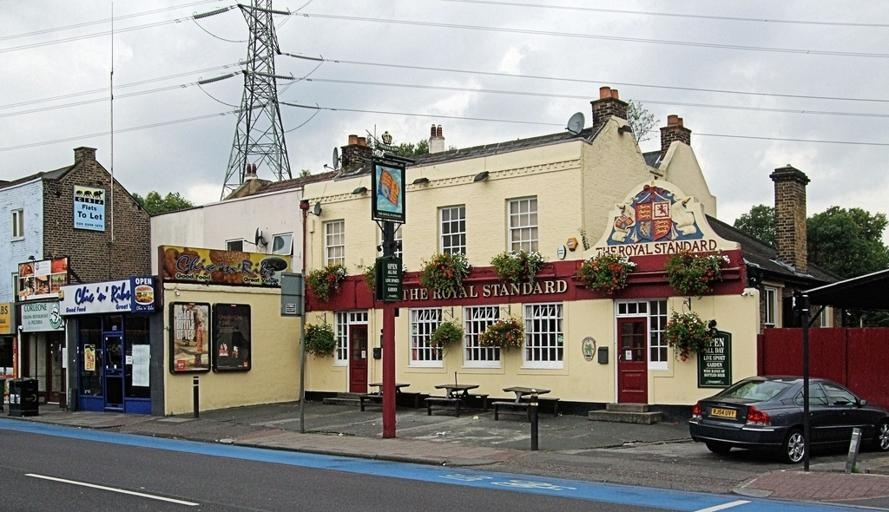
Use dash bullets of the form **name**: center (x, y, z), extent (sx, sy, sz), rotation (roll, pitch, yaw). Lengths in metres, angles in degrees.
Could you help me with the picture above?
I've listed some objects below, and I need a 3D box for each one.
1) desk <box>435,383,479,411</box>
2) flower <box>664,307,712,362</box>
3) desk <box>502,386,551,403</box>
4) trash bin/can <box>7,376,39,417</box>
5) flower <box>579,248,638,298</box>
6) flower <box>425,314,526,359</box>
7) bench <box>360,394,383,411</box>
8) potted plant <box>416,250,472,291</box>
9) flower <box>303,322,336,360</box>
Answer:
- **desk**: center (0.408, 5.697, 46.723), extent (1.323, 0.774, 1.302), rotation (0, -4, 12)
- **flower**: center (9.471, 2.957, 43.702), extent (1.789, 1.913, 0.716), rotation (-4, -9, 15)
- **desk**: center (3.271, 5.399, 45.206), extent (1.084, 0.367, 1.570), rotation (-1, 1, -37)
- **trash bin/can**: center (-18.430, 6.059, 49.185), extent (1.354, 1.680, 0.746), rotation (-6, -10, 30)
- **flower**: center (6.528, 0.643, 45.072), extent (2.130, 1.520, 0.853), rotation (-3, -9, 11)
- **flower**: center (1.431, 3.208, 47.279), extent (3.716, 1.389, 0.918), rotation (-6, -9, 26)
- **bench**: center (-3.239, 6.216, 48.411), extent (0.926, 0.692, 1.569), rotation (-1, -9, -5)
- **potted plant**: center (0.019, 0.621, 48.106), extent (2.156, 1.534, 0.671), rotation (-6, -9, 26)
- **flower**: center (-5.640, 3.669, 50.851), extent (1.366, 1.568, 0.720), rotation (0, -8, -7)
